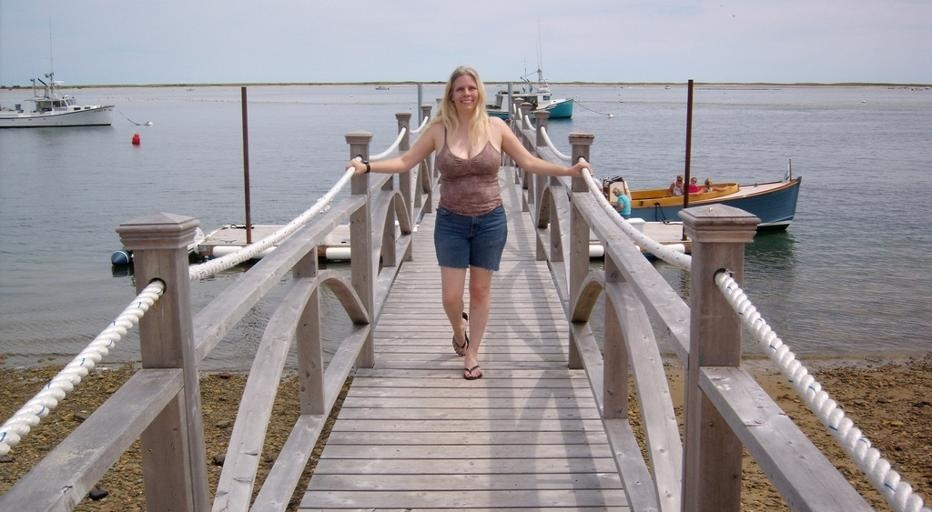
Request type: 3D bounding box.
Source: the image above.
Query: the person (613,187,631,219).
[{"bbox_3d":[4.109,-1.294,21.840,0.397,0.834,1.125,1,15,8],"label":"person"}]

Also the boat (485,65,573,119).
[{"bbox_3d":[4.723,-12.363,65.819,8.607,3.319,2.717,-6,19,-21],"label":"boat"}]

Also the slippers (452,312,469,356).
[{"bbox_3d":[-0.037,1.043,10.904,0.192,0.592,0.093,4,20,16],"label":"slippers"}]
